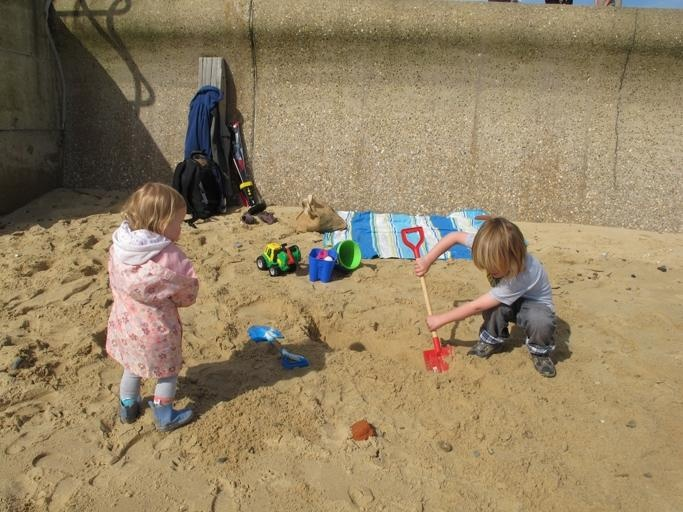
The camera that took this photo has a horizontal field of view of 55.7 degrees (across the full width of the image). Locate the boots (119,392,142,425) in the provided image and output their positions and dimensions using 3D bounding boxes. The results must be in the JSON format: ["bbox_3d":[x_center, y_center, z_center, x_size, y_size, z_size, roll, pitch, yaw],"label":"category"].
[{"bbox_3d":[-1.551,1.129,4.743,0.097,0.237,0.242,4,45,-4],"label":"boots"}]

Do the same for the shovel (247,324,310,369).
[{"bbox_3d":[-0.536,0.742,5.383,0.256,0.063,0.519,-3,31,-37],"label":"shovel"}]

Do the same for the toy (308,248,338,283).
[{"bbox_3d":[-0.188,0.088,6.367,0.261,0.280,0.302,2,14,0],"label":"toy"}]

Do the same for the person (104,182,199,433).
[{"bbox_3d":[-1.368,0.378,4.643,0.660,1.753,0.317,-2,14,-13],"label":"person"}]

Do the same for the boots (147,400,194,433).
[{"bbox_3d":[-1.272,1.124,4.805,0.318,0.257,0.144,-19,28,-39],"label":"boots"}]

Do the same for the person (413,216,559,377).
[{"bbox_3d":[1.229,0.254,5.328,1.095,1.328,0.835,6,26,27],"label":"person"}]

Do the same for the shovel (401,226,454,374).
[{"bbox_3d":[0.722,0.458,5.293,0.261,1.439,0.094,-8,17,21],"label":"shovel"}]

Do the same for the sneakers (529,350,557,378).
[{"bbox_3d":[1.638,0.860,5.275,0.098,0.117,0.260,-7,24,-12],"label":"sneakers"}]

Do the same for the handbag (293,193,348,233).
[{"bbox_3d":[-0.233,-0.468,7.356,0.431,0.335,0.453,1,6,-10],"label":"handbag"}]

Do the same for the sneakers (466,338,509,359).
[{"bbox_3d":[1.210,0.770,5.399,0.346,0.139,0.173,-6,-29,-7],"label":"sneakers"}]

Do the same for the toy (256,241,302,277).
[{"bbox_3d":[-0.631,0.025,6.409,0.416,0.330,0.249,22,30,35],"label":"toy"}]

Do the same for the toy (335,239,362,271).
[{"bbox_3d":[0.069,-0.002,6.498,0.256,0.298,0.208,-2,1,-18],"label":"toy"}]

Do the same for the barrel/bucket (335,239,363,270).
[{"bbox_3d":[0.074,-0.011,6.535,0.252,0.293,0.205,0,0,-18],"label":"barrel/bucket"}]
